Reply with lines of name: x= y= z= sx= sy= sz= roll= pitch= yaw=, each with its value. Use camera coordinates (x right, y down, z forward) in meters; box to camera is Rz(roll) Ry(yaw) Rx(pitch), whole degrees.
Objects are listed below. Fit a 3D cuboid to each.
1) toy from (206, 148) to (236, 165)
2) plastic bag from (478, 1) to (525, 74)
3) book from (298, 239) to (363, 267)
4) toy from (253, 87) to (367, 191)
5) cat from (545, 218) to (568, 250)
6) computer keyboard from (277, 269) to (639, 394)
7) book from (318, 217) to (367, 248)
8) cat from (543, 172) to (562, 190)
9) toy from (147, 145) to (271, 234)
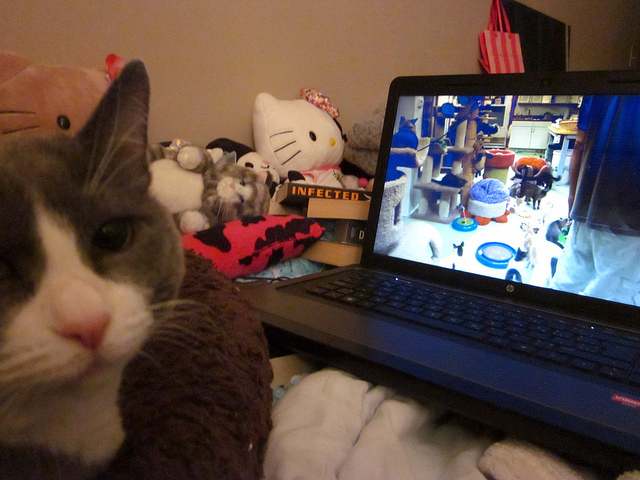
toy: x=-0.195 y=-0.164 z=1.072 sx=0.057 sy=0.023 sz=0.042 roll=20 pitch=61 yaw=41
plastic bag: x=0.780 y=-0.848 z=2.220 sx=0.281 sy=0.284 sz=0.087 roll=-9 pitch=18 yaw=-41
book: x=0.026 y=0.025 z=0.963 sx=0.089 sy=0.021 sz=0.047 roll=14 pitch=27 yaw=31
toy: x=-0.040 y=-0.225 z=1.440 sx=0.302 sy=0.361 sz=0.222 roll=-5 pitch=1 yaw=-38
cat: x=0.334 y=-0.009 z=0.755 sx=0.035 sy=0.036 sz=0.038 roll=5 pitch=7 yaw=17
computer keyboard: x=0.169 y=0.094 z=0.692 sx=0.434 sy=0.013 sz=0.189 roll=12 pitch=17 yaw=33
book: x=0.049 y=-0.029 z=1.050 sx=0.081 sy=0.020 sz=0.058 roll=16 pitch=13 yaw=39
cat: x=0.333 y=-0.087 z=0.754 sx=0.010 sy=0.038 sz=0.021 roll=6 pitch=-5 yaw=-9
toy: x=-0.213 y=-0.100 z=0.848 sx=0.130 sy=0.107 sz=0.049 roll=25 pitch=47 yaw=-5
